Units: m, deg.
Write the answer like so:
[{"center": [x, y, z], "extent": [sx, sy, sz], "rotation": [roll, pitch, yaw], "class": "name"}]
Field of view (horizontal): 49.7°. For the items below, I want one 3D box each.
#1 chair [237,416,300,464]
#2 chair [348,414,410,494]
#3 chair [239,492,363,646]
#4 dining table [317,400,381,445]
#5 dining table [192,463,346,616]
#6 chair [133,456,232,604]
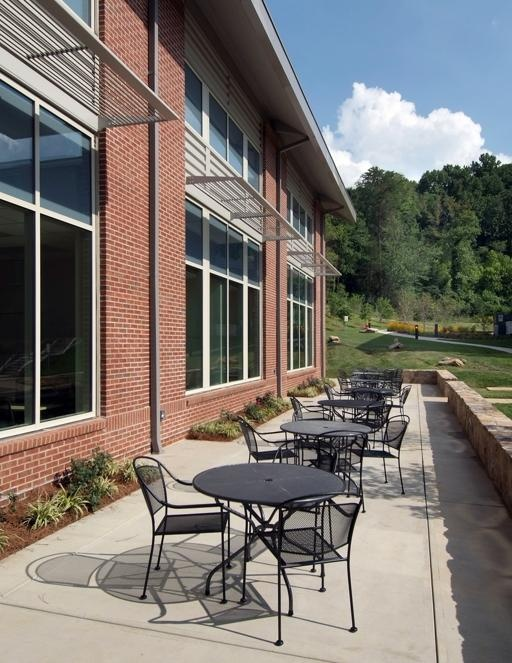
[{"center": [0.169, 1.315, 6.137], "extent": [0.570, 0.747, 0.460], "rotation": [-7, 0, -12], "class": "chair"}, {"center": [1.520, 1.373, 6.322], "extent": [0.517, 0.706, 0.470], "rotation": [-11, -10, 16], "class": "chair"}, {"center": [0.262, 1.322, 3.318], "extent": [0.673, 0.917, 0.635], "rotation": [0, -1, -18], "class": "chair"}, {"center": [1.520, 1.236, 8.330], "extent": [0.926, 0.550, 0.915], "rotation": [2, -2, -28], "class": "dining table"}, {"center": [0.022, 1.242, 3.375], "extent": [0.913, 0.665, 0.867], "rotation": [10, -27, 5], "class": "dining table"}, {"center": [-0.403, 1.295, 3.626], "extent": [0.645, 0.763, 0.631], "rotation": [2, -9, 16], "class": "chair"}]
